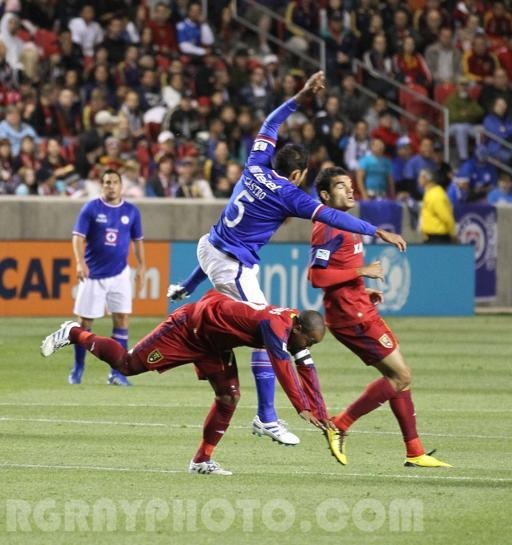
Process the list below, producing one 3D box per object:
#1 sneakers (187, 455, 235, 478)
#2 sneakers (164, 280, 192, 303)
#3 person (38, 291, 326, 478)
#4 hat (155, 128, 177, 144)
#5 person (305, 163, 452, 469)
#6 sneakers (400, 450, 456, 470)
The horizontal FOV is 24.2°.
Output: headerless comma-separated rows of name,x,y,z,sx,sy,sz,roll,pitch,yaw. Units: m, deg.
sneakers,-0.315,1.395,8.408,0.356,0.102,0.105,2,3,0
sneakers,-0.659,0.169,10.011,0.208,0.114,0.080,-8,15,35
person,-0.471,0.820,8.500,2.414,1.180,0.657,6,-6,30
hat,-1.478,-2.214,19.414,0.211,0.153,0.319,-10,14,25
person,0.876,0.316,8.929,0.966,1.637,0.903,3,2,-26
sneakers,1.251,1.397,8.813,0.440,0.151,0.130,1,-1,1
